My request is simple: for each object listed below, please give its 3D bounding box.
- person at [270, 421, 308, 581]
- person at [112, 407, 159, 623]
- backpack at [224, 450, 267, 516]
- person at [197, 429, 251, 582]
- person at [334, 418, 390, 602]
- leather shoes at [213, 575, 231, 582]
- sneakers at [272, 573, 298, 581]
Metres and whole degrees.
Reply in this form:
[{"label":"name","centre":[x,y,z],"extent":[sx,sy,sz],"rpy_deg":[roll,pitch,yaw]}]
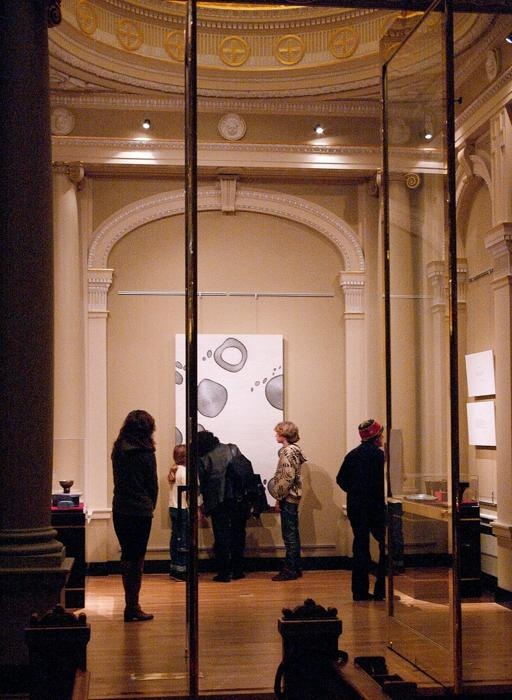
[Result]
[{"label":"person","centre":[0.244,1.228,7.468],"extent":[0.300,1.268,0.535],"rpy_deg":[-2,-5,0]},{"label":"person","centre":[-0.689,0.848,5.149],"extent":[0.241,1.009,0.274],"rpy_deg":[-1,-5,-9]},{"label":"backpack","centre":[-0.095,1.084,7.364],"extent":[0.339,0.524,0.173],"rpy_deg":[-11,1,-38]},{"label":"person","centre":[-0.245,1.247,7.311],"extent":[0.425,1.191,0.329],"rpy_deg":[-1,-5,-4]},{"label":"person","centre":[0.708,1.081,5.997],"extent":[0.301,1.224,0.579],"rpy_deg":[-1,-5,-8]},{"label":"leather shoes","centre":[-0.274,1.810,7.218],"extent":[0.137,0.054,0.126],"rpy_deg":[-2,-5,-4]},{"label":"sneakers","centre":[0.232,1.818,7.294],"extent":[0.205,0.093,0.076],"rpy_deg":[4,-5,-14]}]
